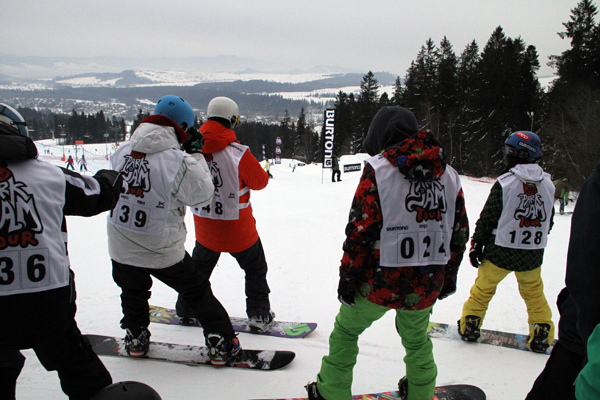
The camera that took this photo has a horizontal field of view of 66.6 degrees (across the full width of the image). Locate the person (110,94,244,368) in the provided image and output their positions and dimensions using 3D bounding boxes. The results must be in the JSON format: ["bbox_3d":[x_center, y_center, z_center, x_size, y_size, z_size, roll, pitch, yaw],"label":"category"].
[{"bbox_3d":[-1.321,0.317,4.655,1.217,2.719,0.561,2,8,-16],"label":"person"}]

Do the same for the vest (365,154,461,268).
[{"bbox_3d":[0.962,0.088,4.022,0.861,1.004,0.553,-1,7,-11],"label":"vest"}]

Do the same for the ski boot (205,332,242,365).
[{"bbox_3d":[-0.794,1.545,4.917,0.249,0.355,0.545,-8,-5,18],"label":"ski boot"}]

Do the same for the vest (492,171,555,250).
[{"bbox_3d":[2.471,0.115,5.079,0.697,0.944,0.464,6,2,2],"label":"vest"}]

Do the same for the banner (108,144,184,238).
[{"bbox_3d":[-1.479,-0.090,4.415,0.616,0.761,0.381,18,12,12],"label":"banner"}]

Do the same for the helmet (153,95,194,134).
[{"bbox_3d":[-1.300,-0.902,4.832,0.417,0.420,0.325,9,8,-31],"label":"helmet"}]

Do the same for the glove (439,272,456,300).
[{"bbox_3d":[1.417,0.798,4.330,0.114,0.281,0.186,11,11,42],"label":"glove"}]

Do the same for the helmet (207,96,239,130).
[{"bbox_3d":[-0.949,-0.976,5.430,0.343,0.425,0.437,1,-10,10],"label":"helmet"}]

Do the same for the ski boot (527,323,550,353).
[{"bbox_3d":[2.727,1.545,5.220,0.178,0.322,0.305,3,-10,15],"label":"ski boot"}]

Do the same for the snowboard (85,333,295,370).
[{"bbox_3d":[-1.207,1.591,4.782,2.165,0.175,0.337,6,28,3],"label":"snowboard"}]

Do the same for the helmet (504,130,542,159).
[{"bbox_3d":[2.605,-0.676,5.283,0.367,0.307,0.287,14,22,10],"label":"helmet"}]

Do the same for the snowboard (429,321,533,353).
[{"bbox_3d":[2.121,1.621,5.382,1.130,0.180,0.333,13,36,11],"label":"snowboard"}]

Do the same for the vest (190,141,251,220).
[{"bbox_3d":[-0.875,-0.239,4.994,0.685,0.933,0.465,4,11,12],"label":"vest"}]

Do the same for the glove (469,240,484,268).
[{"bbox_3d":[2.049,0.632,5.290,0.089,0.275,0.190,2,-1,35],"label":"glove"}]

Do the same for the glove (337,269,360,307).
[{"bbox_3d":[0.442,0.757,4.136,0.186,0.333,0.228,11,16,20],"label":"glove"}]

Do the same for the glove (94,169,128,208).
[{"bbox_3d":[-1.703,-0.131,4.110,0.214,0.282,0.260,4,8,-6],"label":"glove"}]

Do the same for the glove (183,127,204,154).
[{"bbox_3d":[-1.085,-0.605,4.705,0.208,0.265,0.188,3,0,6],"label":"glove"}]
